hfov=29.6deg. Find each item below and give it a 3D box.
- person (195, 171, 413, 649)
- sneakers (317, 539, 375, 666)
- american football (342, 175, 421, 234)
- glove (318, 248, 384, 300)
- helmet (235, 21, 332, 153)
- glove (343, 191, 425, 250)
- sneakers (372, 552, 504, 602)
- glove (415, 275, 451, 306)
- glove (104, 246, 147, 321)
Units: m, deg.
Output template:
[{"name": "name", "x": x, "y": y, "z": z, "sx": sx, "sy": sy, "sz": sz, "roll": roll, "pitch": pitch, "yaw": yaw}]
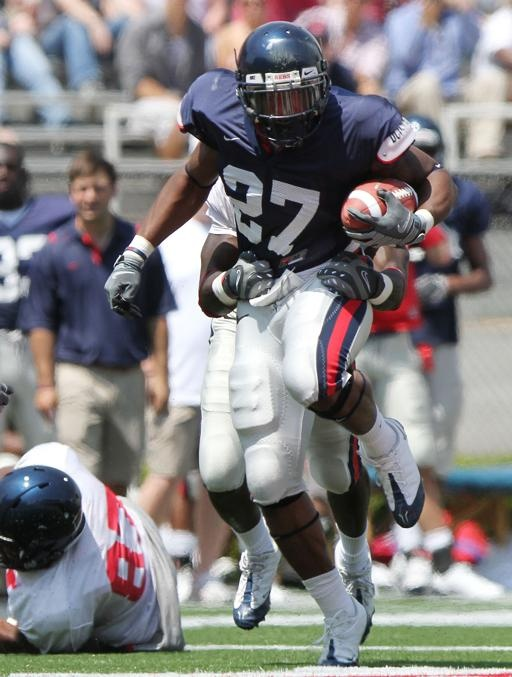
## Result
[{"name": "person", "x": 0.152, "y": 0.224, "z": 2.539, "sx": 0.568, "sy": 1.206, "sz": 0.743, "roll": -1, "pitch": 13, "yaw": -4}, {"name": "sneakers", "x": 0.265, "y": 0.698, "z": 2.550, "sx": 0.136, "sy": 0.168, "sz": 0.380, "roll": -4, "pitch": 35, "yaw": 17}, {"name": "american football", "x": 0.313, "y": -0.336, "z": 2.429, "sx": 0.146, "sy": 0.144, "sz": 0.280, "roll": 14, "pitch": 25, "yaw": 40}, {"name": "glove", "x": 0.233, "y": -0.150, "z": 2.426, "sx": 0.133, "sy": 0.120, "sz": 0.167, "roll": 7, "pitch": 14, "yaw": 30}, {"name": "helmet", "x": 0.067, "y": -0.640, "z": 2.411, "sx": 0.227, "sy": 0.308, "sz": 0.214, "roll": -1, "pitch": 13, "yaw": -2}, {"name": "glove", "x": 0.319, "y": -0.281, "z": 2.376, "sx": 0.133, "sy": 0.073, "sz": 0.170, "roll": 24, "pitch": 4, "yaw": 29}, {"name": "sneakers", "x": 0.814, "y": 1.088, "z": 4.349, "sx": 0.673, "sy": 0.226, "sz": 0.202, "roll": -2, "pitch": 8, "yaw": 4}, {"name": "glove", "x": 0.871, "y": -0.239, "z": 4.751, "sx": 0.186, "sy": 0.142, "sz": 0.044, "roll": 5, "pitch": 4, "yaw": -35}, {"name": "glove", "x": -0.378, "y": -0.167, "z": 2.826, "sx": 0.144, "sy": 0.060, "sz": 0.209, "roll": 12, "pitch": 36, "yaw": -10}]
